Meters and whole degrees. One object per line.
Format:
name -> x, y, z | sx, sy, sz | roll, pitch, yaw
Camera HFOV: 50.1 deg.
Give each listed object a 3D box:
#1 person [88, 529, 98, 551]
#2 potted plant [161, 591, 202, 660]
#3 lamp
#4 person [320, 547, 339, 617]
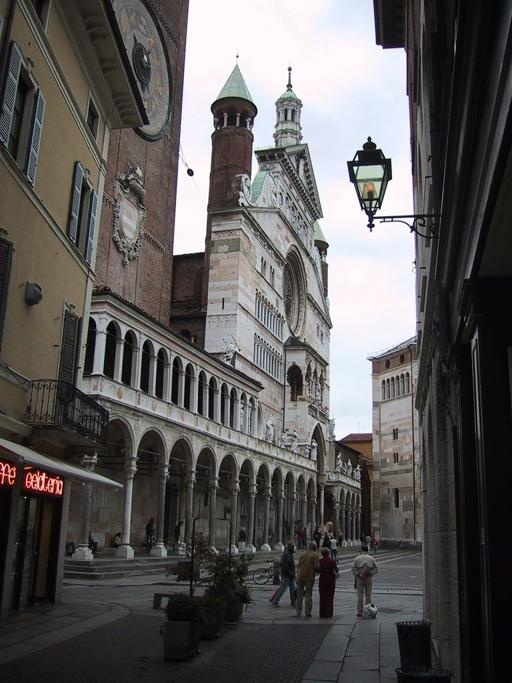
person -> -7.706, 10.055, 27.413 | 0.397, 1.028, 1.531 | 5, -21, -15
potted plant -> -1.177, 4.923, 9.443 | 0.700, 1.017, 0.654 | 8, -19, -22
lamp -> 1.543, -1.885, 6.710 | 0.780, 1.657, 0.507 | -3, -27, 12
person -> 1.980, 6.691, 15.199 | 0.530, 1.806, 1.463 | -2, -19, 6
